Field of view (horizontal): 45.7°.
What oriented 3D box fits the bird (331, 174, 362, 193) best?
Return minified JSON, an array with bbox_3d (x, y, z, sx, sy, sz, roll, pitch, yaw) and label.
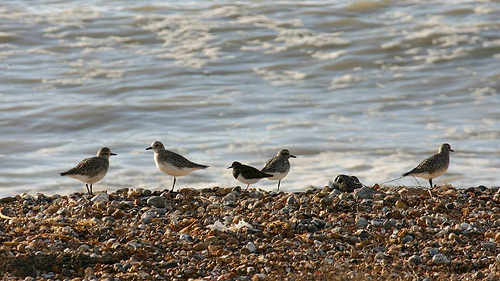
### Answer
[{"bbox_3d":[3.699,1.590,22.448,1.357,0.335,0.679,9,33,2],"label":"bird"}]
